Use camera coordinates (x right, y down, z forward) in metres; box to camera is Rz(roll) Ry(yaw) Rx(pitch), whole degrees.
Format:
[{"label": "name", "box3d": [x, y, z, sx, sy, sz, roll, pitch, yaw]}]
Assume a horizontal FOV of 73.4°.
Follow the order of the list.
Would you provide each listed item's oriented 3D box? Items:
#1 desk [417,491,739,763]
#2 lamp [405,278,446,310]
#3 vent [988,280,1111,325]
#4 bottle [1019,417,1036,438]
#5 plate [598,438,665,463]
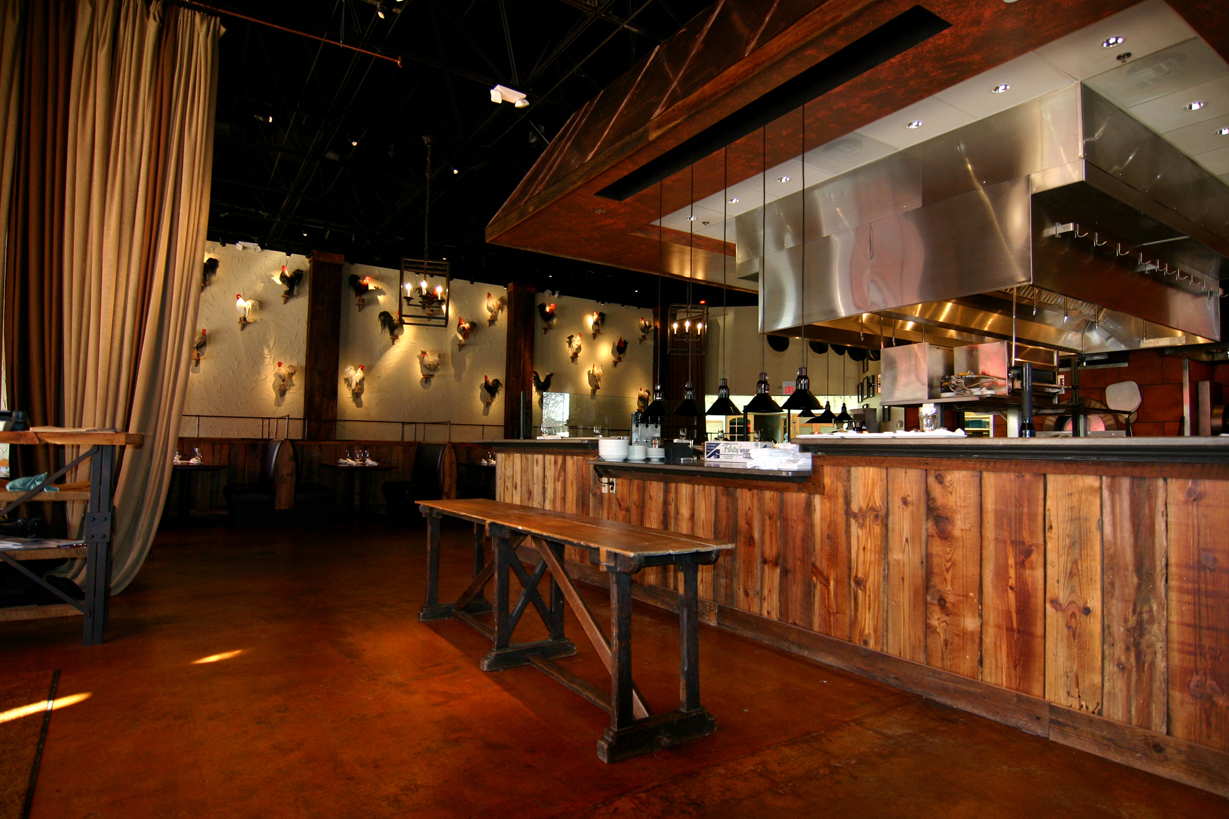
[{"label": "desk", "box3d": [-0.604, 1.398, 6.283, 0.865, 1.264, 3.194, 1, 2, -34]}, {"label": "lamp", "box3d": [-2.908, -1.798, 12.741, 0.693, 0.455, 0.747, 8, 12, 42]}, {"label": "vent", "box3d": [4.581, -1.076, 8.637, 0.712, 0.376, 2.123, 9, 12, 41]}, {"label": "bottle", "box3d": [3.054, 0.126, 6.096, 0.080, 0.201, 0.562, 5, 10, 24]}, {"label": "plate", "box3d": [0.159, 0.368, 7.359, 0.583, 0.224, 0.185, 4, 9, 19]}]
